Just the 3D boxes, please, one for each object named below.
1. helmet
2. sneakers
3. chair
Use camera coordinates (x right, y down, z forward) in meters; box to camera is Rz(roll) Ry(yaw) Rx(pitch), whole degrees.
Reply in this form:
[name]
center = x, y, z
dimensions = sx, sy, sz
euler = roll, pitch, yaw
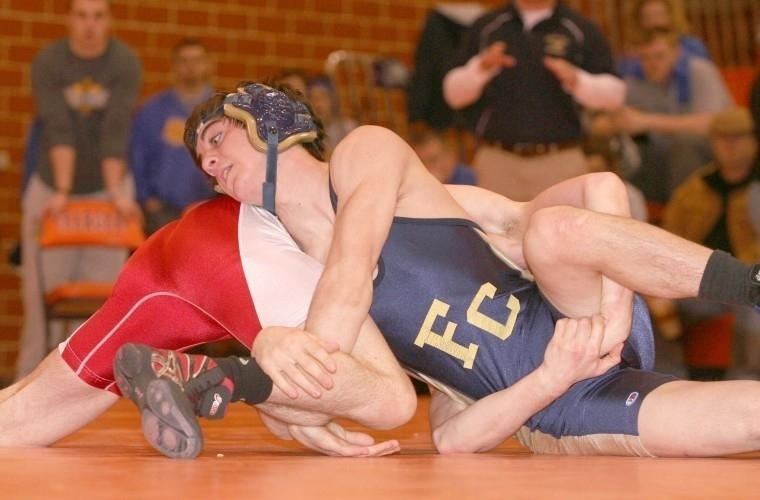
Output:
[helmet]
center = -0.354, -0.376, 2.578
dimensions = 0.283, 0.313, 0.255
euler = -13, -14, -11
[sneakers]
center = -0.521, 0.390, 2.093
dimensions = 0.258, 0.316, 0.137
euler = -5, 21, -14
[chair]
center = -1.420, 0.047, 4.112
dimensions = 0.566, 0.856, 0.637
euler = -1, 8, -10
